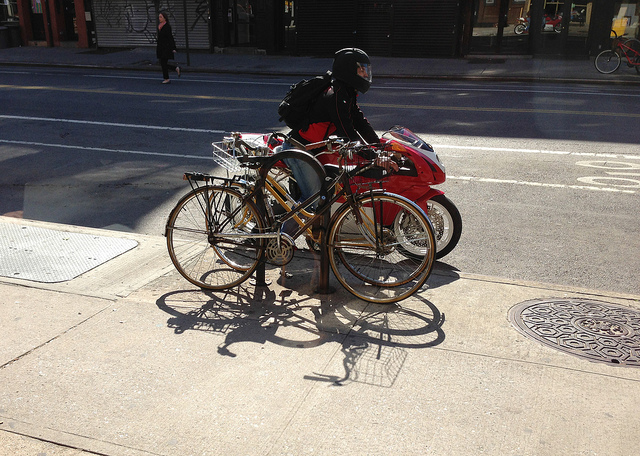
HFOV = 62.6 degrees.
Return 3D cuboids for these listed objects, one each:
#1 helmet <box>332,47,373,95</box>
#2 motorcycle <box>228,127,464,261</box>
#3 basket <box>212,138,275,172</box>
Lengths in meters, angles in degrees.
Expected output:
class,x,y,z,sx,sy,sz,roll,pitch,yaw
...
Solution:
class,x,y,z,sx,sy,sz,roll,pitch,yaw
helmet,0.383,-1.704,5.814,0.463,0.367,0.312,6,-5,24
motorcycle,0.203,-0.360,5.967,3.125,1.399,1.515,3,9,25
basket,-0.820,-0.737,5.809,0.790,0.235,0.503,-3,38,-22
